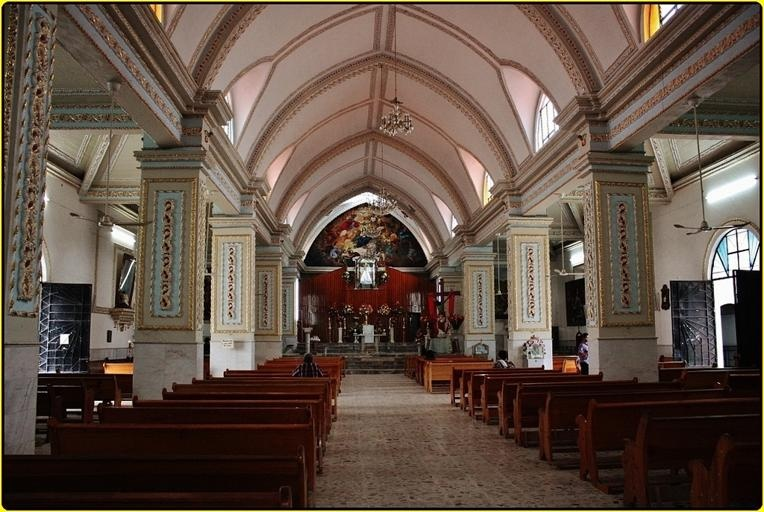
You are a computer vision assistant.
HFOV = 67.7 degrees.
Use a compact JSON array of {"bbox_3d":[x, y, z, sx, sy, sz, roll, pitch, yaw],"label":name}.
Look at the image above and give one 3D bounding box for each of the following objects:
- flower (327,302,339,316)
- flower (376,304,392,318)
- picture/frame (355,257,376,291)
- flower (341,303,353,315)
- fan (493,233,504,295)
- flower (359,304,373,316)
[{"bbox_3d":[-3.024,3.217,35.196,0.758,0.820,0.192,-1,-3,0],"label":"flower"},{"bbox_3d":[0.113,3.368,35.276,0.808,0.747,0.276,-2,5,-4],"label":"flower"},{"bbox_3d":[-1.028,0.961,34.938,1.306,1.836,0.860,-3,-3,-2],"label":"picture/frame"},{"bbox_3d":[-2.190,3.209,35.070,0.607,0.590,0.266,1,-11,-9],"label":"flower"},{"bbox_3d":[6.548,0.460,32.055,0.421,2.735,2.329,-4,-4,12],"label":"fan"},{"bbox_3d":[-1.001,3.257,35.199,0.691,0.670,0.658,0,-8,9],"label":"flower"}]
